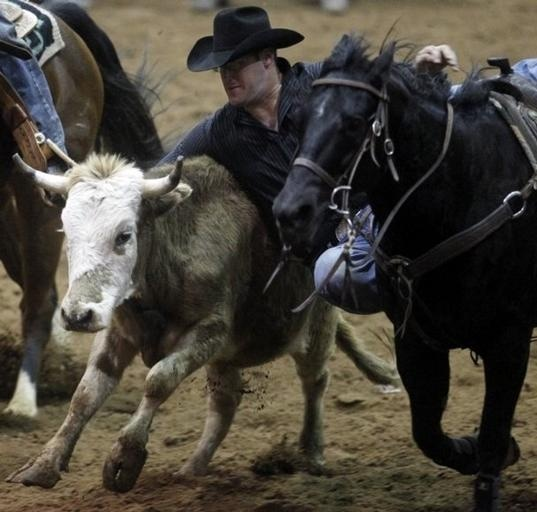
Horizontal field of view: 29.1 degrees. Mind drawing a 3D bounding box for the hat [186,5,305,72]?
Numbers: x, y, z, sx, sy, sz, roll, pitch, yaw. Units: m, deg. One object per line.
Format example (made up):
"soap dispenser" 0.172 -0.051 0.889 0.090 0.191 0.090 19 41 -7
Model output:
"hat" -0.128 -1.018 4.745 0.495 0.175 0.354 -16 4 -30
